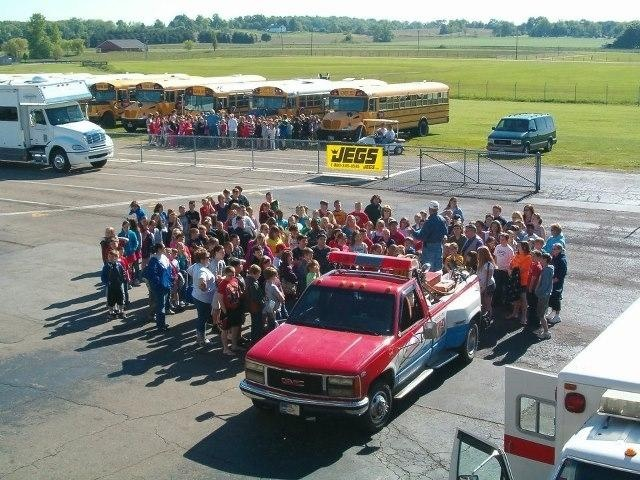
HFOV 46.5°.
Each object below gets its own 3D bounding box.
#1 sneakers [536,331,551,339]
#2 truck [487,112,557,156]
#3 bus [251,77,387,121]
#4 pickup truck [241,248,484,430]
[{"bbox_3d":[4.884,2.060,16.179,0.285,0.131,0.125,5,8,36],"label":"sneakers"},{"bbox_3d":[11.071,-5.627,40.582,2.723,2.467,5.335,5,11,37],"label":"truck"},{"bbox_3d":[-1.511,-9.161,48.958,3.291,2.841,10.260,3,12,26],"label":"bus"},{"bbox_3d":[1.119,1.496,14.623,2.805,2.767,5.943,3,12,35],"label":"pickup truck"}]
